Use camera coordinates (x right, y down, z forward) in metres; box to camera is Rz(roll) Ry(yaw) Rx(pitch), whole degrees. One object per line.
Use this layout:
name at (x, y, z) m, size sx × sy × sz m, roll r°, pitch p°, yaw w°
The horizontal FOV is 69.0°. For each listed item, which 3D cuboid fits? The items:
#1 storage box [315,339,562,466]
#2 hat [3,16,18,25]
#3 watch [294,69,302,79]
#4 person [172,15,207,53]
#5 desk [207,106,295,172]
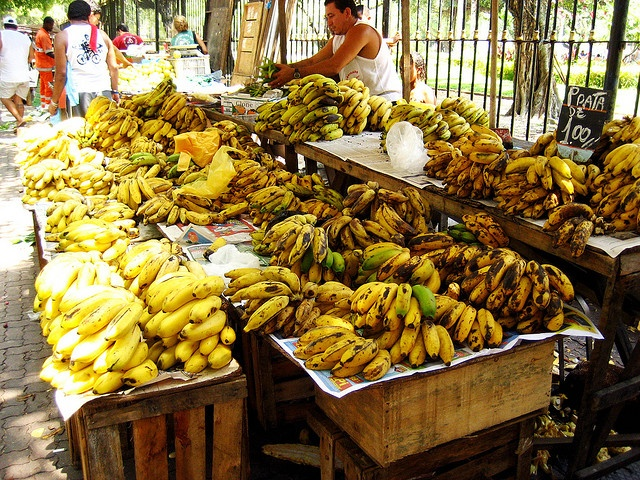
storage box at (0.581, 0.726, 2.063) m, size 0.819 × 0.364 × 0.583 m, roll -9°, pitch 11°, yaw -27°
hat at (-7.318, -5.229, 11.038) m, size 0.303 × 0.170 × 0.411 m, roll 1°, pitch 25°, yaw -36°
watch at (-0.230, -1.754, 4.900) m, size 0.070 × 0.108 × 0.024 m, roll 3°, pitch 8°, yaw 44°
person at (-3.096, -4.924, 10.952) m, size 0.751 × 0.814 × 1.538 m, roll -3°, pitch 15°, yaw -14°
desk at (-0.671, -0.994, 4.526) m, size 0.442 × 0.253 × 1.058 m, roll 3°, pitch 38°, yaw -50°
